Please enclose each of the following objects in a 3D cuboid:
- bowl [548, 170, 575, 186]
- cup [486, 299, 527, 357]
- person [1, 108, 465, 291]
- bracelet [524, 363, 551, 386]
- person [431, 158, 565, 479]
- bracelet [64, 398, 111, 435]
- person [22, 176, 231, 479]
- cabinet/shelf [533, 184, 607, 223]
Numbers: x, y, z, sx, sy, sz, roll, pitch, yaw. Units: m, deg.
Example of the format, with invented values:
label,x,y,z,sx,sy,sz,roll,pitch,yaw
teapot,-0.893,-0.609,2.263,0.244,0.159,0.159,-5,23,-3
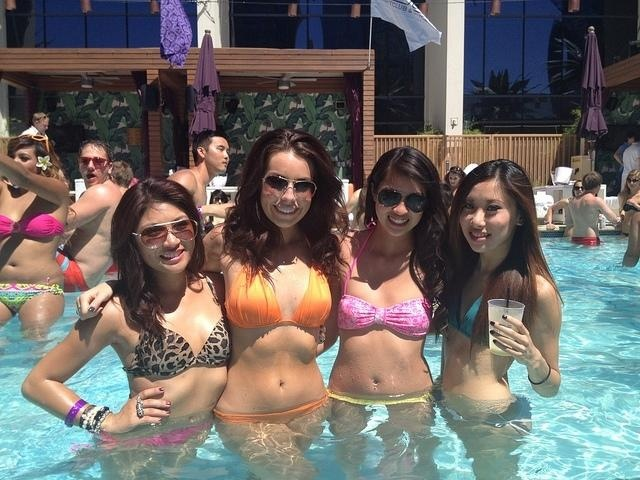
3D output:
label,x,y,z,sx,sy,sz,roll,pitch,yaw
bowl,6.445,-1.665,15.509,0.477,0.509,0.425,7,-10,10
cup,1.134,0.541,3.585,0.194,0.362,0.158,6,10,30
person,-1.017,-0.607,6.562,3.594,1.697,0.576,2,4,-13
bracelet,1.413,0.864,3.754,0.162,0.143,0.109,2,9,7
person,1.186,0.485,3.857,0.801,1.995,0.681,4,9,18
bracelet,-1.416,1.086,3.580,0.213,0.196,0.119,2,-15,28
person,-1.105,0.534,3.600,1.103,1.787,0.493,-4,10,-30
cabinet/shelf,5.091,-0.757,11.890,0.798,0.919,0.551,-2,-38,20
